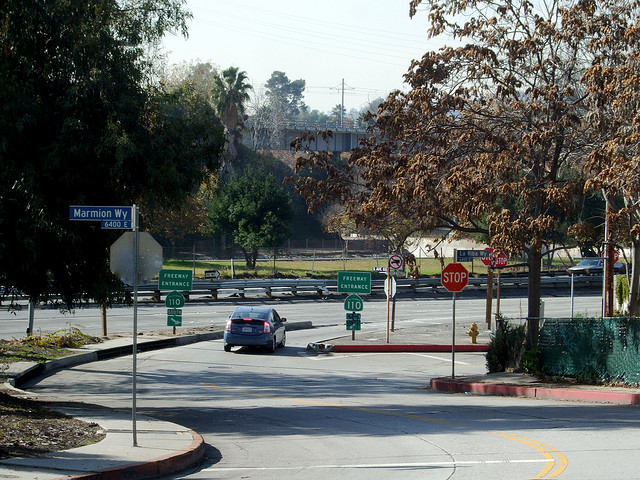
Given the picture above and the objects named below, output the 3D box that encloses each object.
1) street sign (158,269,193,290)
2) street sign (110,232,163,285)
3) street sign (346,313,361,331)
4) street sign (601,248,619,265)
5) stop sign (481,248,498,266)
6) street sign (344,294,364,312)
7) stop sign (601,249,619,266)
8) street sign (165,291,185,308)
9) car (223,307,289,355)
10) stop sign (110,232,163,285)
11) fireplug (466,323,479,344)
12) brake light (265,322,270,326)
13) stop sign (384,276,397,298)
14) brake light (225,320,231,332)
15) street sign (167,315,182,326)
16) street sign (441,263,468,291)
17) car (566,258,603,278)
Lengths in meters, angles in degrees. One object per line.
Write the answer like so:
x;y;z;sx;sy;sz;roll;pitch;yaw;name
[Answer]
-5.124;1.452;45.375;1.118;0.689;1.119;1;-3;-10;street sign
-4.326;0.445;29.851;1.141;1.354;0.170;2;-1;-8;street sign
1.146;2.938;45.312;0.579;0.749;0.069;2;-10;-10;street sign
10.471;0.619;46.570;0.672;0.790;0.174;-3;-5;-1;street sign
6.048;0.649;46.078;0.566;0.692;0.081;1;-6;25;stop sign
1.202;2.339;46.633;0.830;1.028;0.149;0;9;-8;street sign
10.538;0.649;46.889;0.755;0.882;0.195;0;-6;-12;stop sign
-5.146;2.162;45.416;0.800;0.978;0.119;1;9;14;street sign
-2.056;3.057;43.375;1.157;1.071;2.185;0;2;8;car
-4.208;0.440;29.308;1.133;1.177;0.493;1;-2;-10;stop sign
5.465;3.444;46.375;0.568;0.935;0.270;-1;2;-23;fireplug
-1.773;2.818;42.321;0.103;0.104;0.061;0;-2;-3;brake light
2.501;1.721;45.911;0.350;0.754;1.141;0;-3;2;stop sign
-3.052;2.893;42.517;0.147;0.394;0.337;2;-3;-35;brake light
-4.997;2.813;44.032;0.392;0.333;0.022;-1;5;1;street sign
4.029;1.152;38.594;0.694;0.837;0.863;-2;-3;43;street sign
15.961;1.786;77.481;0.937;0.805;2.092;-2;-5;40;car
